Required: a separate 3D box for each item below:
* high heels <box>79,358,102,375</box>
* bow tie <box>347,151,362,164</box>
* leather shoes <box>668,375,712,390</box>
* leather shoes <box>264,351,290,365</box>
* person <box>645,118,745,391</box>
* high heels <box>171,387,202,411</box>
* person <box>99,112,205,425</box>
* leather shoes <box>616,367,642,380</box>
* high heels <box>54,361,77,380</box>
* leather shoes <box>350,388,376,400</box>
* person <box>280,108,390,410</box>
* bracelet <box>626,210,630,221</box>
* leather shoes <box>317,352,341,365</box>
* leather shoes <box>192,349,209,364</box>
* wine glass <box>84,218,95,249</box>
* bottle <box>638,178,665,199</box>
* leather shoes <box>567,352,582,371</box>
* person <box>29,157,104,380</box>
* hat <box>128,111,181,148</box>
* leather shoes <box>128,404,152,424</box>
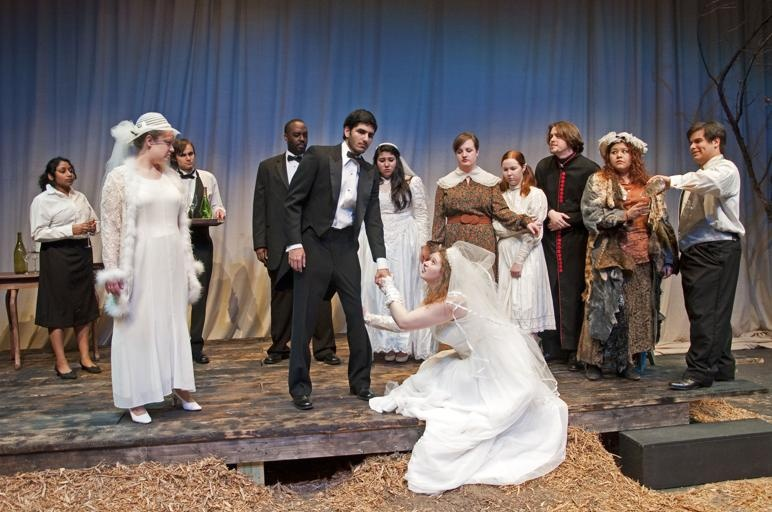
[{"bbox_3d":[-2.805,1.060,6.008,0.107,0.116,0.289,0,-4,-42],"label":"high heels"},{"bbox_3d":[-0.220,-0.775,4.922,0.141,0.100,0.063,-4,3,-39],"label":"bow tie"},{"bbox_3d":[2.579,1.061,5.378,0.343,0.142,0.140,2,-7,1],"label":"leather shoes"},{"bbox_3d":[-1.056,0.987,6.154,0.249,0.116,0.096,8,-8,-37],"label":"leather shoes"},{"bbox_3d":[2.720,-0.025,5.484,0.783,2.275,0.466,-4,4,-24],"label":"person"},{"bbox_3d":[-1.604,1.135,5.029,0.310,0.126,0.114,7,-2,40],"label":"high heels"},{"bbox_3d":[-1.782,0.023,4.758,0.700,2.188,0.312,-3,3,-18],"label":"person"},{"bbox_3d":[2.169,1.052,5.625,0.099,0.085,0.209,2,-10,-23],"label":"leather shoes"},{"bbox_3d":[-2.956,1.085,5.835,0.103,0.133,0.298,6,-14,-45],"label":"high heels"},{"bbox_3d":[-0.177,1.123,5.136,0.191,0.089,0.084,-5,-7,36],"label":"leather shoes"},{"bbox_3d":[-0.393,0.043,4.971,0.803,2.284,0.311,-2,3,-1],"label":"person"},{"bbox_3d":[2.065,-0.334,5.374,0.011,0.043,0.038,-19,40,-6],"label":"bracelet"},{"bbox_3d":[-0.550,0.992,6.108,0.097,0.100,0.245,3,-6,-43],"label":"leather shoes"},{"bbox_3d":[-1.800,0.985,6.139,0.088,0.086,0.192,0,-2,-36],"label":"leather shoes"},{"bbox_3d":[-2.829,-0.229,6.047,0.123,0.274,0.466,-4,2,-25],"label":"wine glass"},{"bbox_3d":[2.290,-0.582,5.359,0.179,0.159,0.339,-1,2,24],"label":"bottle"},{"bbox_3d":[1.759,0.987,5.894,0.111,0.162,0.051,-11,-13,38],"label":"leather shoes"},{"bbox_3d":[-2.997,0.086,5.936,0.573,2.061,0.568,-4,4,-26],"label":"person"},{"bbox_3d":[-1.747,-0.974,4.781,0.304,0.166,0.236,-8,7,0],"label":"hat"},{"bbox_3d":[-1.839,1.204,4.739,0.081,0.093,0.219,3,-8,-33],"label":"leather shoes"}]
